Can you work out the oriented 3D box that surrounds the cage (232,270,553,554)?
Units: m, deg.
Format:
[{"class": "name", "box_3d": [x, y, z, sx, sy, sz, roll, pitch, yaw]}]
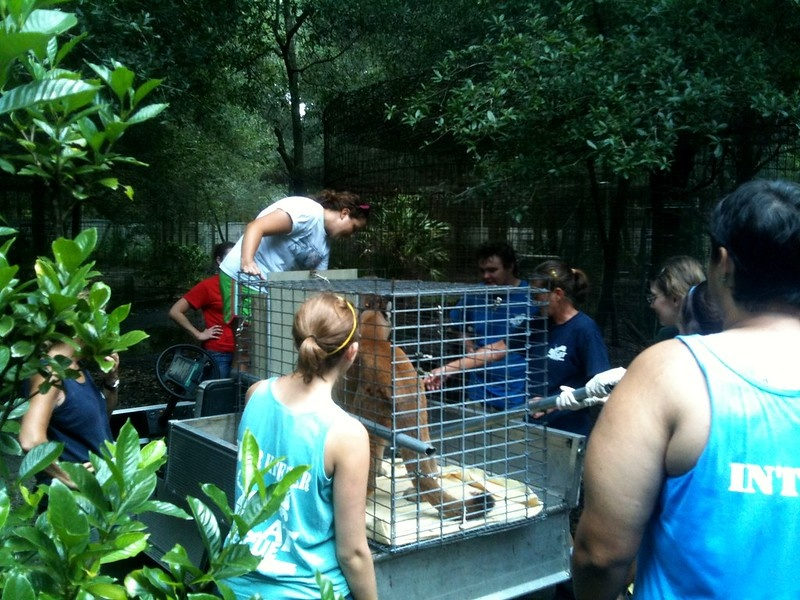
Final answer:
[{"class": "cage", "box_3d": [0.032, 0.634, 3.831, 1.082, 1.337, 1.456, 0, 2, -36]}]

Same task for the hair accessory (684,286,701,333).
[{"class": "hair accessory", "box_3d": [1.484, 0.070, 3.927, 0.071, 0.303, 0.306, 0, 16, 25]}]

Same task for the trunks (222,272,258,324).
[{"class": "trunks", "box_3d": [-0.888, -0.023, 4.469, 0.117, 0.207, 0.141, 15, -18, -1]}]

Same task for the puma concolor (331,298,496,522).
[{"class": "puma concolor", "box_3d": [-0.052, 0.488, 3.697, 0.272, 0.763, 1.413, 4, 14, -19]}]
